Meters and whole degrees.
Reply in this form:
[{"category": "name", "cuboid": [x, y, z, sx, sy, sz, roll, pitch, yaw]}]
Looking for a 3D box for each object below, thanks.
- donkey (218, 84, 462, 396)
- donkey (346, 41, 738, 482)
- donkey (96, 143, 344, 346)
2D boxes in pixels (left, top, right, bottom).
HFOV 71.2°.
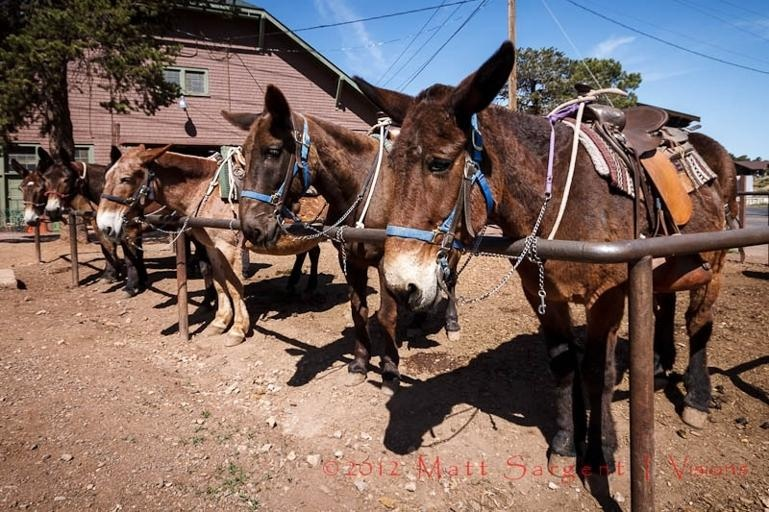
[{"category": "donkey", "cuboid": [0.514, -0.065, 5.489, 3.833, 2.794, 1.050, 4, 13, 24]}, {"category": "donkey", "cuboid": [1.519, 0.049, 4.723, 3.188, 3.491, 1.303, 0, 15, -8]}, {"category": "donkey", "cuboid": [-1.535, -0.718, 8.497, 5.272, 3.443, 1.409, -6, 10, -42]}]
